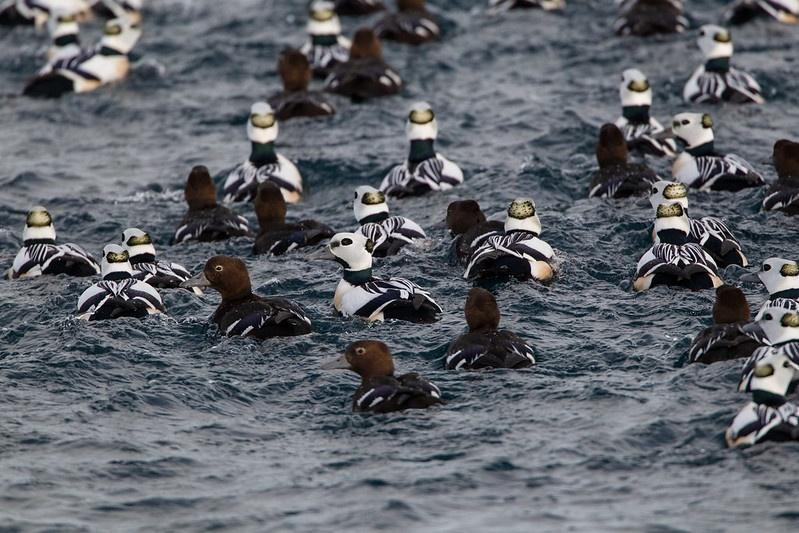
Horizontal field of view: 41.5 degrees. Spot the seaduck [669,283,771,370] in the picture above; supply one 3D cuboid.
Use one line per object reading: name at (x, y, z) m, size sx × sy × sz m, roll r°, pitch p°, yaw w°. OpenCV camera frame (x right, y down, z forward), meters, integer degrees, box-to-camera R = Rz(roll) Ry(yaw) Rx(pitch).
seaduck at (3.831, 0.701, 12.324) m, size 0.880 × 0.378 × 0.988 m, roll -4°, pitch 24°, yaw 10°
